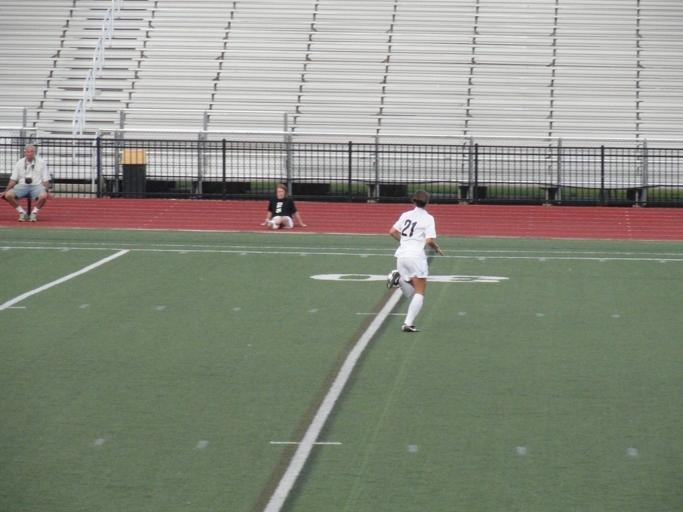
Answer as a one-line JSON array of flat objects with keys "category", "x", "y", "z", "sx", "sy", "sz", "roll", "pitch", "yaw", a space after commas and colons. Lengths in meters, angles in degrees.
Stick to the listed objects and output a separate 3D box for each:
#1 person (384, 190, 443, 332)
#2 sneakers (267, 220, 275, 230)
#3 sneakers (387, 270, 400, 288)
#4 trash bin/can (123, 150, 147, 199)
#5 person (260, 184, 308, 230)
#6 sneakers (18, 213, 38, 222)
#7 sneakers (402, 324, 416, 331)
[{"category": "person", "x": 0.866, "y": 0.026, "z": 12.431, "sx": 0.613, "sy": 1.608, "sz": 0.914, "roll": 1, "pitch": 9, "yaw": 4}, {"category": "sneakers", "x": -1.524, "y": -0.702, "z": 23.062, "sx": 0.238, "sy": 0.183, "sz": 0.213, "roll": -1, "pitch": 9, "yaw": -11}, {"category": "sneakers", "x": 0.628, "y": 0.268, "z": 12.466, "sx": 0.134, "sy": 0.213, "sz": 0.076, "roll": 3, "pitch": 0, "yaw": 6}, {"category": "trash bin/can", "x": -5.335, "y": -2.137, "z": 26.739, "sx": 0.600, "sy": 1.226, "sz": 0.425, "roll": -1, "pitch": 9, "yaw": -13}, {"category": "person", "x": -1.344, "y": -1.087, "z": 22.837, "sx": 0.767, "sy": 0.906, "sz": 1.284, "roll": 1, "pitch": 8, "yaw": 5}, {"category": "sneakers", "x": -7.065, "y": -0.877, "z": 23.407, "sx": 0.493, "sy": 0.222, "sz": 0.182, "roll": -1, "pitch": 9, "yaw": 4}, {"category": "sneakers", "x": 0.793, "y": 0.833, "z": 12.170, "sx": 0.189, "sy": 0.080, "sz": 0.063, "roll": 1, "pitch": 5, "yaw": -12}]
